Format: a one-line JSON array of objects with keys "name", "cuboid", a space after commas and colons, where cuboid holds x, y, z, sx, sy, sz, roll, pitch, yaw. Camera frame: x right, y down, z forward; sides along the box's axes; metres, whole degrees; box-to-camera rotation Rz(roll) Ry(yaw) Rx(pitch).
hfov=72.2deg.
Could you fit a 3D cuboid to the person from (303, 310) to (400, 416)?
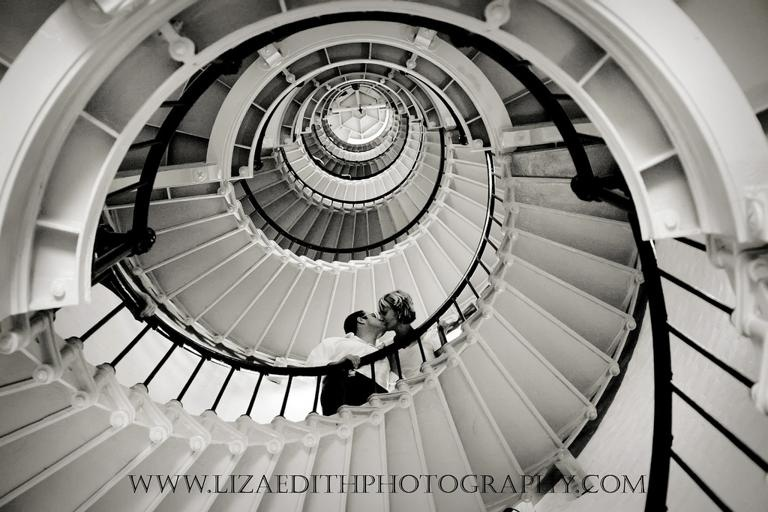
[{"name": "person", "cuboid": [-0.522, 1.677, 8.409, 1.191, 3.130, 0.688, -15, -72, 5]}]
